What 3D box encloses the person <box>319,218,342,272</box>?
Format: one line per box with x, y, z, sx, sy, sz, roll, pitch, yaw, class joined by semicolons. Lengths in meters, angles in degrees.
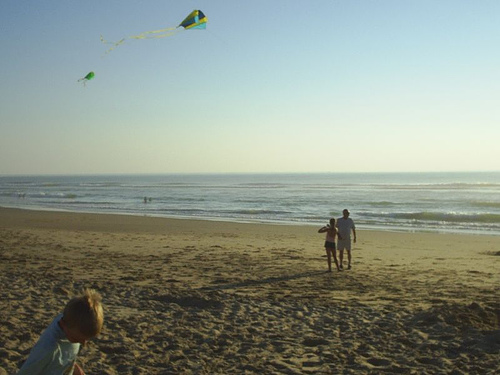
2.134;1.493;11.550;0.618;1.302;1.139;2;2;9;person

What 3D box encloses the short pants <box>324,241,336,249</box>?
2.167;1.530;11.555;0.442;0.208;0.181;1;2;-35;short pants

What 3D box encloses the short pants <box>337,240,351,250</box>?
2.520;1.537;11.757;0.387;0.368;0.235;1;-6;3;short pants

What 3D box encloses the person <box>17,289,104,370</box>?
-2.269;1.715;5.120;0.498;0.762;1.368;27;-50;-16;person
